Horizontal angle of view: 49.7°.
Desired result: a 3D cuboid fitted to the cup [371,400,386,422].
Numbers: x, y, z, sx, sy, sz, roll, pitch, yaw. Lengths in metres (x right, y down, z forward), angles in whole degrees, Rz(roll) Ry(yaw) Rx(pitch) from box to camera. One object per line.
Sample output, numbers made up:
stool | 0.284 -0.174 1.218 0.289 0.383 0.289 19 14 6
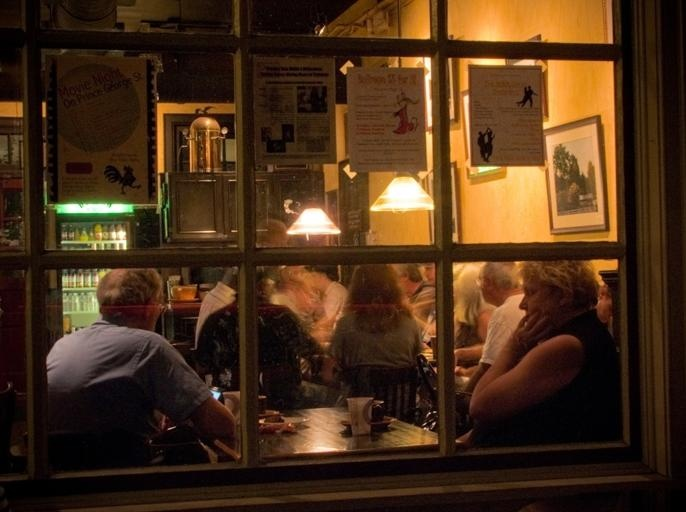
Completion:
cup | 0.097 0.436 2.074 0.031 0.044 0.044 1 -2 -3

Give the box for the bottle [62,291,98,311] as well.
bottle | -0.669 0.117 1.880 0.058 0.056 0.014 -4 20 -40

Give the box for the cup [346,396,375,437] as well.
cup | 0.049 0.437 2.029 0.070 0.095 0.078 1 -12 -5

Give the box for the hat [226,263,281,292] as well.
hat | -0.227 0.052 1.827 0.140 0.056 0.069 -3 2 -9

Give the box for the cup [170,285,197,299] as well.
cup | -0.403 0.089 1.897 0.050 0.030 0.054 -1 1 0
